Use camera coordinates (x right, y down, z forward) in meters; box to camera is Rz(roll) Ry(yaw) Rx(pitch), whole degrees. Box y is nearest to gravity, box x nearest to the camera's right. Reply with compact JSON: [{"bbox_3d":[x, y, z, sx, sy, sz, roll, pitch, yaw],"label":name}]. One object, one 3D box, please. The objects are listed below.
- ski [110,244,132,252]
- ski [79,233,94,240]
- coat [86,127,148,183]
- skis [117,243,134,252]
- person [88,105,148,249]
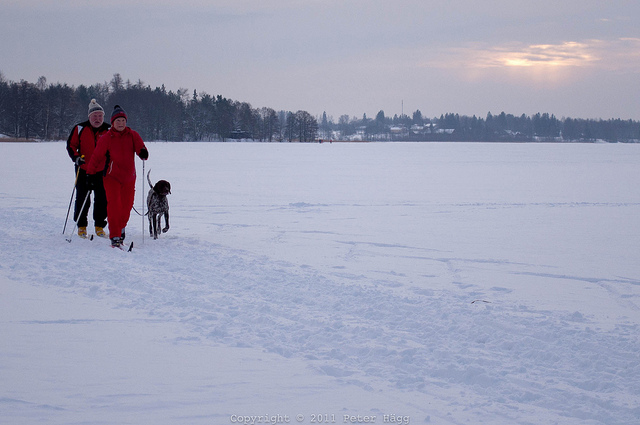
[{"bbox_3d":[-3.666,0.665,13.488,0.555,0.087,0.058,10,8,27],"label":"ski"},{"bbox_3d":[-4.474,0.447,14.079,0.138,0.088,0.225,-1,15,-44],"label":"ski"},{"bbox_3d":[-3.709,-1.049,13.677,1.123,1.116,0.625,-2,4,-8],"label":"coat"},{"bbox_3d":[-3.582,0.617,13.551,0.175,0.095,0.230,7,8,-5],"label":"skis"},{"bbox_3d":[-3.723,-0.655,13.634,1.003,2.558,0.627,2,8,-6],"label":"person"}]
